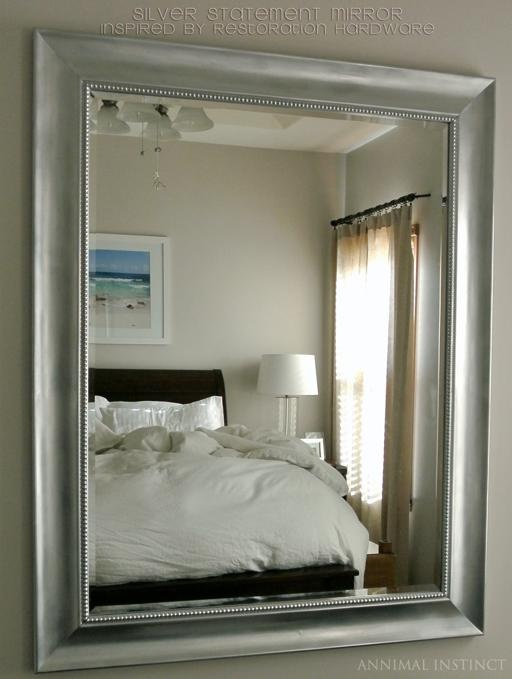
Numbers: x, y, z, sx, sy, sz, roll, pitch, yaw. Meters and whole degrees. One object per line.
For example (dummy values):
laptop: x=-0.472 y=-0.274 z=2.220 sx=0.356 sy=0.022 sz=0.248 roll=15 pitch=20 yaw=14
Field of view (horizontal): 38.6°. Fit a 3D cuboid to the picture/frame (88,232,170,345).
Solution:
picture/frame: x=-0.240 y=-0.095 z=1.335 sx=0.208 sy=0.238 sz=0.012 roll=1 pitch=-3 yaw=-27
